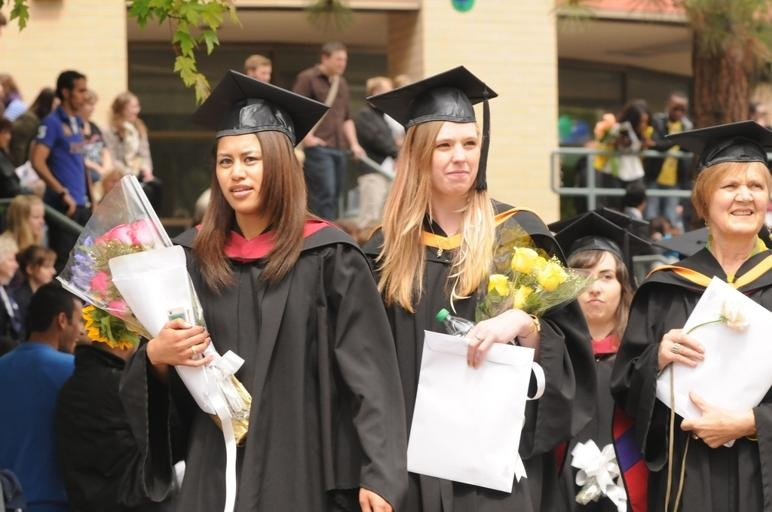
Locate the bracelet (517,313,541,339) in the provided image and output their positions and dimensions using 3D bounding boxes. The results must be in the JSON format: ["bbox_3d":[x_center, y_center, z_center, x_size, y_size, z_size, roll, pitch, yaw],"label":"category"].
[{"bbox_3d":[0.958,0.462,7.337,0.088,0.141,0.119,6,17,3],"label":"bracelet"}]

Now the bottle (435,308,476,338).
[{"bbox_3d":[0.468,0.430,7.257,0.238,0.159,0.149,2,6,5],"label":"bottle"}]

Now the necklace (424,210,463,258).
[{"bbox_3d":[0.389,-0.126,7.437,0.053,0.202,0.226,-26,-11,41],"label":"necklace"}]

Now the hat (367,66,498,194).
[{"bbox_3d":[0.419,-0.862,7.690,0.944,0.726,0.911,1,6,20],"label":"hat"}]
